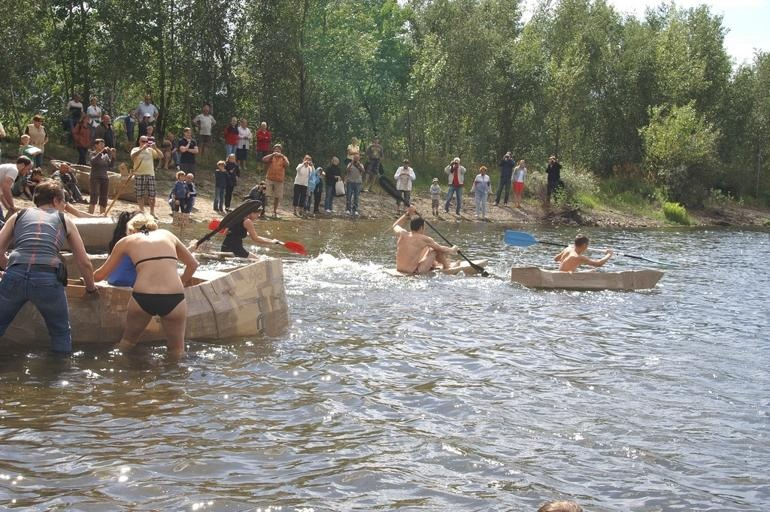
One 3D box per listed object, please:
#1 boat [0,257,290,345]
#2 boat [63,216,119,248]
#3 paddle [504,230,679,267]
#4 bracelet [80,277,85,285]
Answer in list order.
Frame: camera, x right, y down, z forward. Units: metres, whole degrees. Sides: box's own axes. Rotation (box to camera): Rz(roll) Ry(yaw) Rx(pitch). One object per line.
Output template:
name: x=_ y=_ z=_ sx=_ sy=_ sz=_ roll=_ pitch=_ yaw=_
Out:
boat: x=-5.565 y=1.358 z=26.559 sx=5.014 sy=1.536 sz=2.894 roll=1 pitch=1 yaw=-38
boat: x=-8.334 y=-0.704 z=30.225 sx=1.041 sy=0.364 sz=1.007 roll=8 pitch=8 yaw=15
paddle: x=7.407 y=-0.290 z=38.352 sx=6.019 sy=0.816 sz=0.388 roll=12 pitch=-5 yaw=-4
bracelet: x=-7.509 y=0.595 z=25.989 sx=0.195 sy=0.186 sz=0.053 roll=-8 pitch=-9 yaw=43
